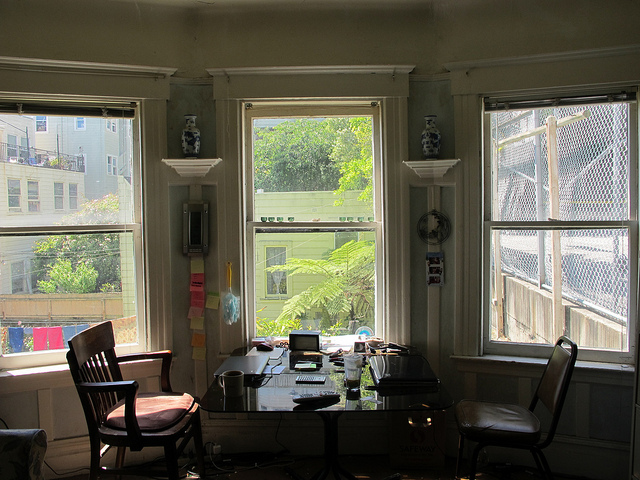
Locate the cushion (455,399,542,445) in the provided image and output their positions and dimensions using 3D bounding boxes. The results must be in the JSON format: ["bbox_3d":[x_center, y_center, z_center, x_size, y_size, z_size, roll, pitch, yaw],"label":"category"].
[{"bbox_3d":[1.117,1.174,3.595,0.558,0.129,0.602,5,3,26],"label":"cushion"}]

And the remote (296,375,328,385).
[{"bbox_3d":[-0.052,0.873,3.512,0.195,0.030,0.114,-3,5,-1],"label":"remote"}]

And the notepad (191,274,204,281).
[{"bbox_3d":[-0.893,0.270,4.085,0.054,0.056,0.014,3,1,2],"label":"notepad"}]

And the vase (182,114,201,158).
[{"bbox_3d":[-0.925,-0.741,4.013,0.118,0.306,0.061,-3,4,-17],"label":"vase"}]

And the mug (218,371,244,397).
[{"bbox_3d":[-0.537,0.863,3.371,0.137,0.112,0.110,-1,5,3],"label":"mug"}]

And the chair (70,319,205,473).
[{"bbox_3d":[-1.150,0.996,3.575,0.697,0.883,0.529,-2,4,7],"label":"chair"}]

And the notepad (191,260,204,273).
[{"bbox_3d":[-0.890,0.195,4.080,0.080,0.085,0.082,0,2,-5],"label":"notepad"}]

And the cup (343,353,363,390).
[{"bbox_3d":[0.199,0.795,3.440,0.102,0.203,0.200,-2,4,1],"label":"cup"}]

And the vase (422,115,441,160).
[{"bbox_3d":[0.793,-0.730,3.997,0.139,0.317,0.101,-3,4,-5],"label":"vase"}]

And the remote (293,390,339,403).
[{"bbox_3d":[-0.035,0.917,3.292,0.172,0.032,0.096,-1,-7,-10],"label":"remote"}]

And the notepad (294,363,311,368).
[{"bbox_3d":[-0.117,0.825,3.697,0.106,0.010,0.078,-3,5,-1],"label":"notepad"}]

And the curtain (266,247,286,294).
[{"bbox_3d":[-0.332,0.228,4.192,0.158,0.401,0.020,2,-26,-10],"label":"curtain"}]

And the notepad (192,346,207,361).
[{"bbox_3d":[-0.879,0.821,4.080,0.089,0.093,0.022,4,-3,1],"label":"notepad"}]

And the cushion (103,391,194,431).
[{"bbox_3d":[-1.117,1.100,3.631,0.574,0.092,0.784,1,2,-4],"label":"cushion"}]

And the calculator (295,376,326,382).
[{"bbox_3d":[-0.061,0.869,3.517,0.186,0.024,0.082,-3,5,0],"label":"calculator"}]

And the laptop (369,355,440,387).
[{"bbox_3d":[0.520,0.820,3.617,0.401,0.099,0.458,-3,5,0],"label":"laptop"}]

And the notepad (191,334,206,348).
[{"bbox_3d":[-0.884,0.729,4.077,0.086,0.095,0.022,-1,-1,3],"label":"notepad"}]
